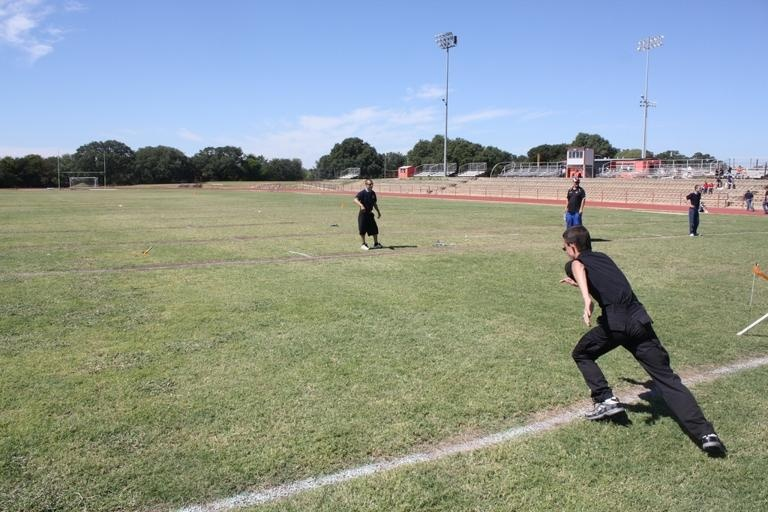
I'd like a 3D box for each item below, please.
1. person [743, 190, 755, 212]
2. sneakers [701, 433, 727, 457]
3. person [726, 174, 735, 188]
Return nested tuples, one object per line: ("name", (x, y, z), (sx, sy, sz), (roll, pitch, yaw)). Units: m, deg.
("person", (23.648, -3.611, 34.074), (0.501, 1.265, 2.558), (8, 15, 34))
("sneakers", (3.465, 1.980, 5.534), (0.176, 0.138, 0.312), (-9, -11, 18))
("person", (27.064, -5.845, 41.059), (0.587, 1.034, 1.187), (8, 14, 31))
